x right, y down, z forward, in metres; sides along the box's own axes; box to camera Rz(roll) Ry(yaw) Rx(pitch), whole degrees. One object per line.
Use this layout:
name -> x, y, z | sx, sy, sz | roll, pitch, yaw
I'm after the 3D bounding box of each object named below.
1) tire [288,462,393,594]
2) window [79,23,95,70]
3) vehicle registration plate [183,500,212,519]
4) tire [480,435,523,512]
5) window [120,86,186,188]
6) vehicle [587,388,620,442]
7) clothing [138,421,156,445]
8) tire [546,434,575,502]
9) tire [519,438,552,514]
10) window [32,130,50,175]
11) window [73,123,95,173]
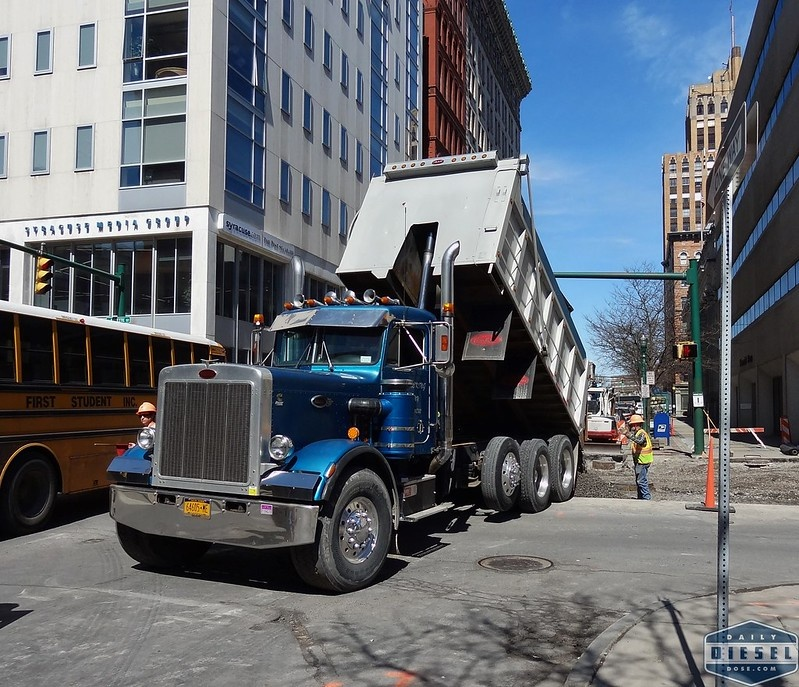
tire -> -0.521, 1.974, 7.890 | 0.388, 1.303, 1.127 | -2, -13, 42
window -> -10.269, -9.715, 24.226 | 0.662, 1.457, 0.079 | -1, -3, 15
vehicle registration plate -> -2.065, 1.690, 7.515 | 0.363, 0.167, 0.020 | -2, -3, 27
tire -> 1.560, 1.985, 11.185 | 0.448, 1.364, 1.187 | -1, -2, 28
window -> -7.766, -6.433, 23.419 | 2.539, 4.213, 0.160 | -3, -9, 17
vehicle -> 8.523, 3.082, 30.892 | 1.761, 2.106, 3.465 | -3, -14, 15
clothing -> -2.834, 1.072, 8.250 | 0.151, 0.246, 0.348 | 2, -4, -23
tire -> 3.022, 2.377, 13.885 | 0.304, 1.223, 1.076 | -3, 11, 33
tire -> 2.298, 2.285, 12.526 | 0.303, 1.188, 1.029 | -2, 3, 31
window -> -11.819, -6.231, 24.274 | 0.700, 1.469, 0.146 | -1, -3, 23
window -> -10.224, -6.278, 23.929 | 0.709, 1.522, 0.145 | 0, -3, 10
